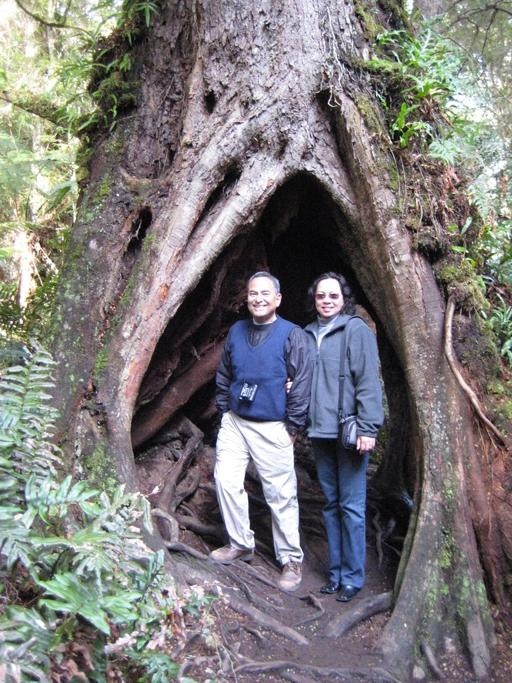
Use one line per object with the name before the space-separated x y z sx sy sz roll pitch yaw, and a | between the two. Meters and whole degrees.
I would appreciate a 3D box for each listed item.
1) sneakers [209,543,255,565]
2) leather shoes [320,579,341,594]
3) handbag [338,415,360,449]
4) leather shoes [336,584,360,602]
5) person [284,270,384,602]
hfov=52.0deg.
sneakers | -0.167 1.567 3.863 0.366 0.174 0.123 9 -3 -26
leather shoes | 0.523 1.727 3.687 0.058 0.072 0.163 -1 -14 37
handbag | 0.611 0.604 3.482 0.124 0.207 0.236 -4 -17 7
leather shoes | 0.603 1.694 3.505 0.072 0.075 0.197 -5 -10 23
person | 0.610 0.643 3.681 0.494 2.211 0.728 0 -16 -3
